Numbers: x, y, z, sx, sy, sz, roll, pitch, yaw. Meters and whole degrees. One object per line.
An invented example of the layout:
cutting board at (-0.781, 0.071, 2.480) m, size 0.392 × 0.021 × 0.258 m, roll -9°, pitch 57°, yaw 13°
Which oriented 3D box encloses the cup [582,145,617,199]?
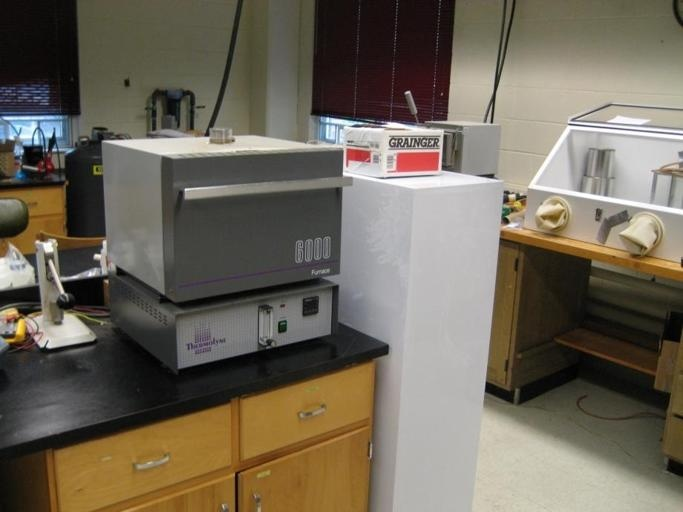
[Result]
cup at (1.463, -0.473, 3.147) m, size 0.171 × 0.264 × 0.085 m, roll 7°, pitch 15°, yaw 27°

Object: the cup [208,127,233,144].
cup at (-0.371, -0.366, 1.728) m, size 0.055 × 0.036 × 0.055 m, roll 0°, pitch 9°, yaw 0°
